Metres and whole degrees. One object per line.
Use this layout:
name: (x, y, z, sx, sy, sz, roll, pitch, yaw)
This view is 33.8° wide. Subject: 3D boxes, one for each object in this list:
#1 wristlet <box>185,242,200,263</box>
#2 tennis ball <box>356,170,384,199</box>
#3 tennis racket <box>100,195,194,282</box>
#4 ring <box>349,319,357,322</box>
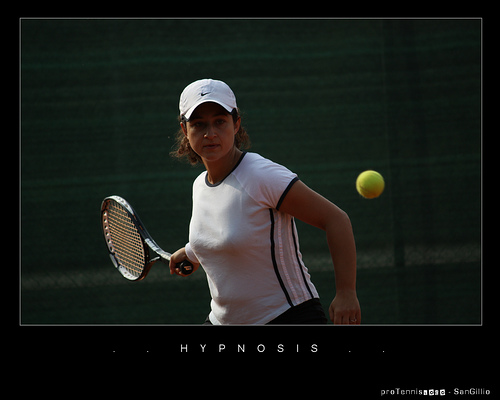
wristlet: (-0.284, 0.256, 4.085, 0.071, 0.088, 0.087, 1, -58, 6)
tennis ball: (0.631, -0.082, 4.327, 0.133, 0.145, 0.133, -8, -1, 0)
tennis racket: (-0.648, 0.199, 4.338, 0.183, 0.460, 0.389, 4, -22, -27)
ring: (0.454, 0.531, 3.612, 0.031, 0.011, 0.003, -7, -19, -3)
